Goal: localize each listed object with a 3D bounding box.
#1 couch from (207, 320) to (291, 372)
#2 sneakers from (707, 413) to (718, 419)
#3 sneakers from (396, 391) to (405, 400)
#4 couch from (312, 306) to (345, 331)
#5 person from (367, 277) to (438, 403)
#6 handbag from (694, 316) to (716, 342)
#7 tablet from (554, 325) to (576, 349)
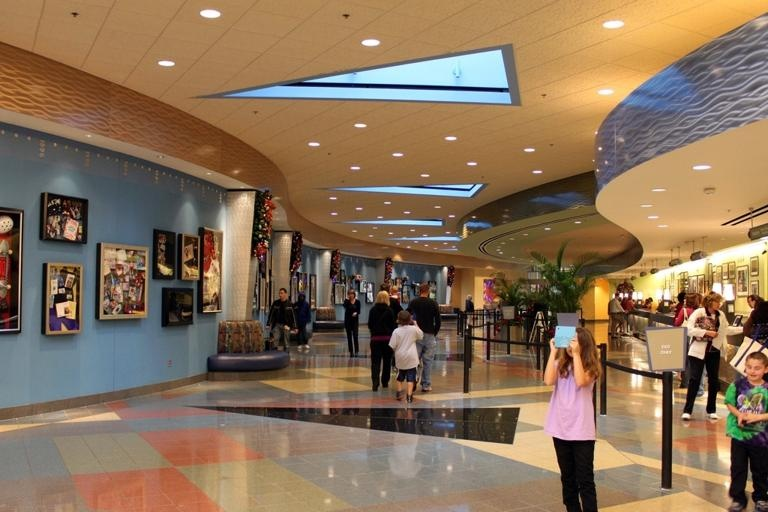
[{"bbox_3d":[-3.258,2.192,11.873,2.109,0.857,1.245,5,-9,-43],"label":"couch"},{"bbox_3d":[5.153,2.516,7.962,0.078,0.069,0.192,0,2,15],"label":"sneakers"},{"bbox_3d":[0.321,2.632,9.521,0.135,0.118,0.117,-1,-8,10],"label":"sneakers"},{"bbox_3d":[-3.149,3.478,27.791,1.591,1.323,1.047,3,-4,-19],"label":"couch"},{"bbox_3d":[0.483,1.629,9.919,1.215,2.193,1.576,1,-4,5],"label":"person"},{"bbox_3d":[5.181,1.178,8.173,0.463,0.388,0.186,7,10,24],"label":"handbag"},{"bbox_3d":[1.536,0.689,4.291,0.217,0.195,0.023,8,-14,5],"label":"tablet"}]
